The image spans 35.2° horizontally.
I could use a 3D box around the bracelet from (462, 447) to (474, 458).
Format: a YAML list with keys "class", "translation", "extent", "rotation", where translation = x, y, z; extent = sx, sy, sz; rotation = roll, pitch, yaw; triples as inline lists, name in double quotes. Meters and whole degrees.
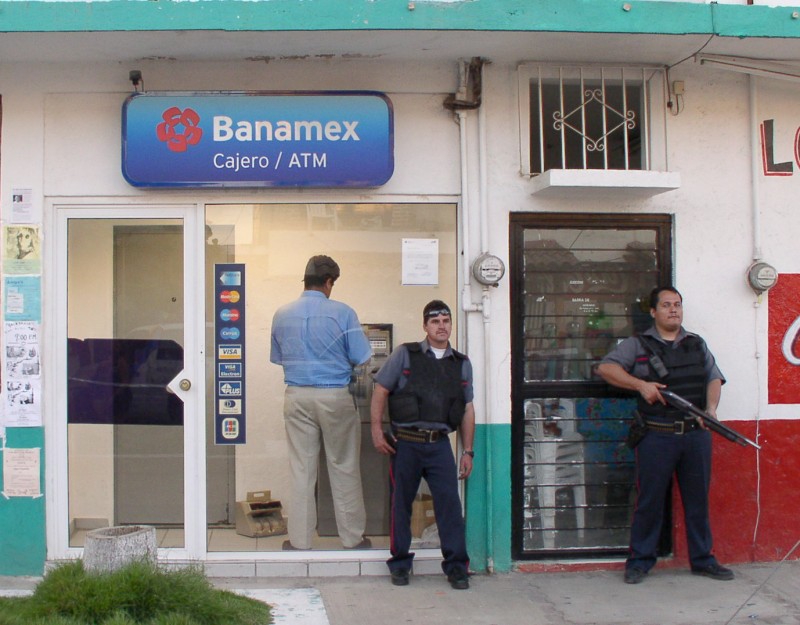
- class: "bracelet"
  translation: [0.506, 1.022, 9.265]
  extent: [0.077, 0.053, 0.082]
  rotation: [6, -2, -17]

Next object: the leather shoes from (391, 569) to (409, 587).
- class: "leather shoes"
  translation: [0.005, 1.944, 9.240]
  extent: [0.079, 0.089, 0.131]
  rotation: [2, 5, -3]

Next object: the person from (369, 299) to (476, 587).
- class: "person"
  translation: [0.175, 0.966, 9.241]
  extent: [0.750, 2.099, 0.264]
  rotation: [-2, 0, 3]

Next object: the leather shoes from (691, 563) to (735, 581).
- class: "leather shoes"
  translation: [2.338, 1.920, 9.404]
  extent: [0.279, 0.100, 0.122]
  rotation: [-2, -3, 27]

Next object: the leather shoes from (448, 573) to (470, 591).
- class: "leather shoes"
  translation: [0.430, 1.955, 9.184]
  extent: [0.122, 0.086, 0.214]
  rotation: [0, 1, -4]

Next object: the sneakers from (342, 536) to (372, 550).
- class: "sneakers"
  translation: [-0.329, 1.743, 9.595]
  extent: [0.167, 0.105, 0.094]
  rotation: [-1, -3, -4]

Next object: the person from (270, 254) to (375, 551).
- class: "person"
  translation: [-0.607, 0.680, 9.568]
  extent: [0.740, 2.219, 0.180]
  rotation: [-2, 0, -7]

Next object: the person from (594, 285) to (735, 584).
- class: "person"
  translation: [1.987, 0.896, 9.379]
  extent: [0.875, 2.195, 0.355]
  rotation: [-2, 0, 14]

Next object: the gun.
- class: "gun"
  translation: [2.290, 0.813, 9.375]
  extent: [0.776, 0.152, 0.058]
  rotation: [36, 27, 21]

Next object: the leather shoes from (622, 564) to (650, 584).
- class: "leather shoes"
  translation: [1.746, 1.935, 9.319]
  extent: [0.175, 0.121, 0.121]
  rotation: [-2, 0, 9]
